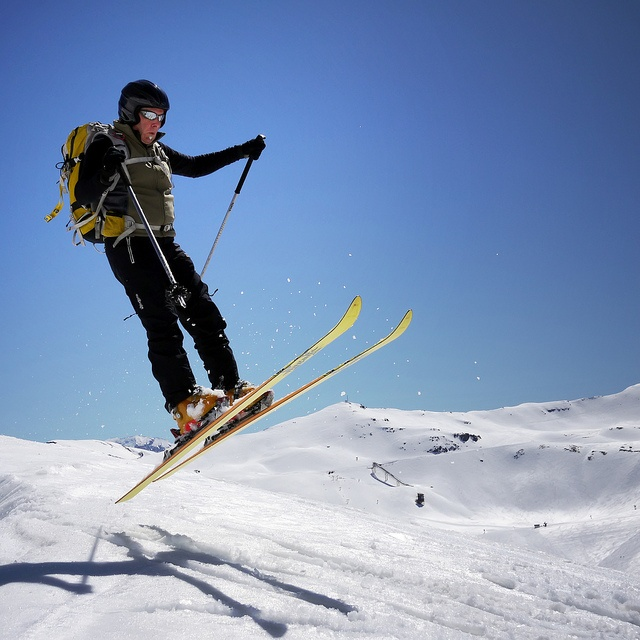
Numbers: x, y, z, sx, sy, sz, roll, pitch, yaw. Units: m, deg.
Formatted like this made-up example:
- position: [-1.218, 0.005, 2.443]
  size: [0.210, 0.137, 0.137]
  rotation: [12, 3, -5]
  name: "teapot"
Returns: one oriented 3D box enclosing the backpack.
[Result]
- position: [-1.917, -1.115, 5.144]
  size: [0.453, 0.924, 0.675]
  rotation: [3, -9, -44]
  name: "backpack"
